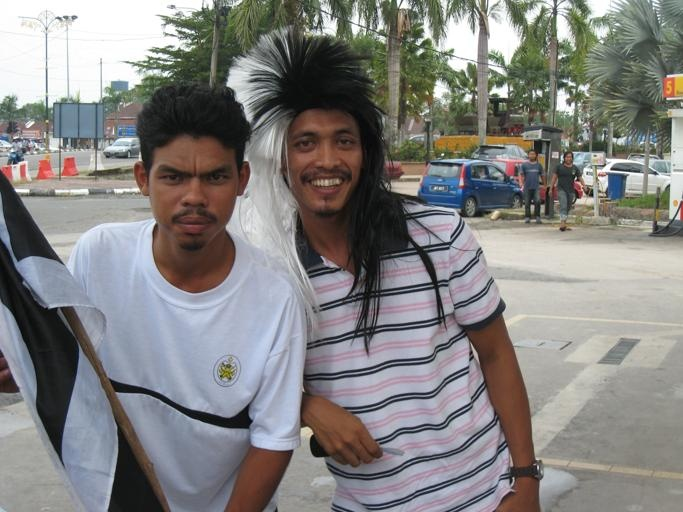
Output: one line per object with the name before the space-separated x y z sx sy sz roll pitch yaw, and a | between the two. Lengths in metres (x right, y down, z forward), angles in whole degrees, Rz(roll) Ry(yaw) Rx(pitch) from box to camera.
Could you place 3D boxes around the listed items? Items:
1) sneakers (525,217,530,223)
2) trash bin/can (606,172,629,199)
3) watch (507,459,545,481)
sneakers | 4.806 -0.921 18.196 0.166 0.181 0.095 -3 -4 2
trash bin/can | 9.534 -2.442 24.468 0.416 0.867 1.076 -3 9 -12
watch | 0.647 0.747 2.486 0.098 0.064 0.104 0 -15 -21
